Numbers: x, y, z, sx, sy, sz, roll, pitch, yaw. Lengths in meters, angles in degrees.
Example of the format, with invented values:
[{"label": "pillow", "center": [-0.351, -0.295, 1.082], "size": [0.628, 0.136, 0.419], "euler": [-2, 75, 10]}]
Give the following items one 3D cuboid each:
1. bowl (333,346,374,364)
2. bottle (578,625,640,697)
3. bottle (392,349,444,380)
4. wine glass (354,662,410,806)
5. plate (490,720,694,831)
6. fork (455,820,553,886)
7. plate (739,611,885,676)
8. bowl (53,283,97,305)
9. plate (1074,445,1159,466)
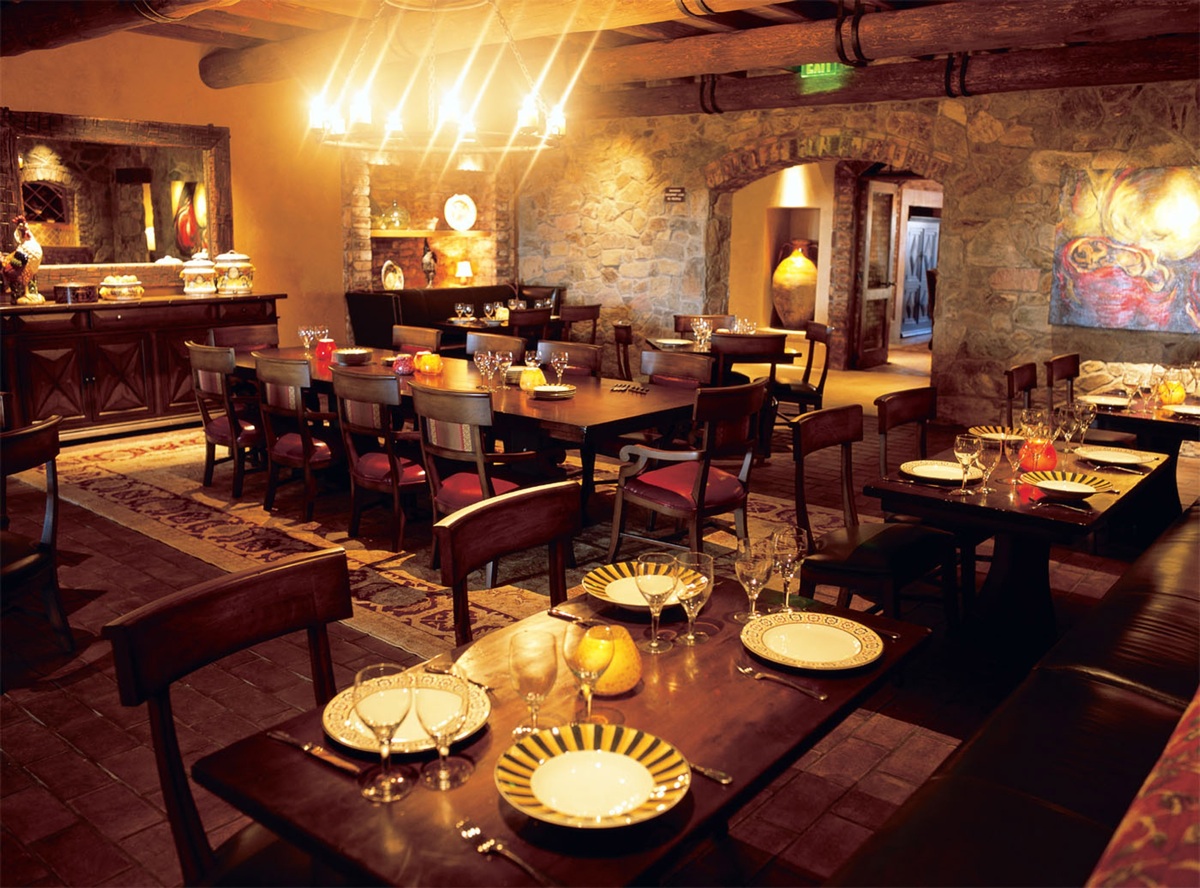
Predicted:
[{"label": "bowl", "center": [-1.697, -0.624, 5.936], "size": [0.218, 0.080, 0.208], "euler": [0, 3, 0]}, {"label": "bottle", "center": [0.011, 0.492, 1.941], "size": [0.167, 0.124, 0.147], "euler": [4, 16, -1]}, {"label": "bottle", "center": [-1.188, -0.528, 5.608], "size": [0.288, 0.116, 0.363], "euler": [-6, 9, -39]}, {"label": "wine glass", "center": [-0.422, 0.552, 1.679], "size": [0.118, 0.183, 0.257], "euler": [-7, 14, -15]}, {"label": "plate", "center": [-0.016, 0.625, 1.618], "size": [0.367, 0.059, 0.255], "euler": [-2, 12, 1]}, {"label": "fork", "center": [-0.176, 0.703, 1.486], "size": [0.060, 0.030, 0.241], "euler": [-9, 11, -37]}, {"label": "plate", "center": [0.515, 0.489, 2.096], "size": [0.351, 0.033, 0.317], "euler": [-4, 12, -30]}, {"label": "bowl", "center": [-4.481, -1.300, 7.255], "size": [0.338, 0.095, 0.262], "euler": [-2, 7, -14]}, {"label": "plate", "center": [2.221, 0.047, 3.687], "size": [0.174, 0.025, 0.174], "euler": [7, 15, 39]}]
